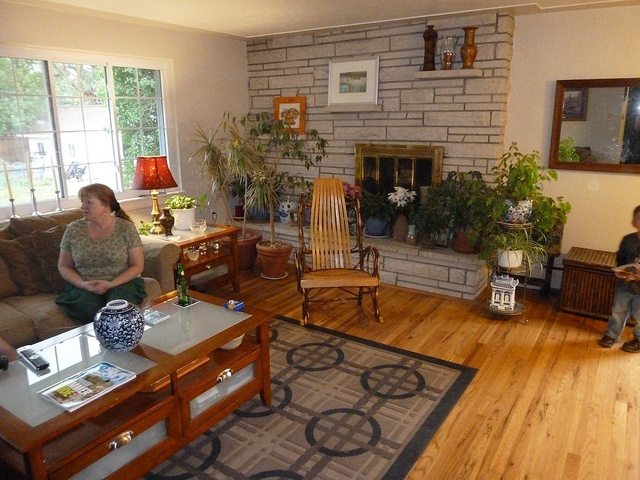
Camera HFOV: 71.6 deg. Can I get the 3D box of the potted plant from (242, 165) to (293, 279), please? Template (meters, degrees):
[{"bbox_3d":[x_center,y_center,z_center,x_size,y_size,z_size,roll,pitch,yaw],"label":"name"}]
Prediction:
[{"bbox_3d":[-0.642,-0.245,5.292,0.488,1.280,0.908,-4,15,-9],"label":"potted plant"}]

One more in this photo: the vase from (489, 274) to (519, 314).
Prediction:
[{"bbox_3d":[1.714,0.515,4.202,0.261,0.266,0.244,7,-6,-4],"label":"vase"}]

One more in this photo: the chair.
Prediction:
[{"bbox_3d":[0.150,0.103,4.123,0.847,1.265,1.031,1,14,12],"label":"chair"}]

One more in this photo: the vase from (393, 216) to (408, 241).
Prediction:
[{"bbox_3d":[0.887,-0.119,4.885,0.152,0.285,0.187,1,15,9],"label":"vase"}]

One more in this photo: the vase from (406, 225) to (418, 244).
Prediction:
[{"bbox_3d":[1.000,-0.057,4.819,0.128,0.209,0.101,-4,16,-10],"label":"vase"}]

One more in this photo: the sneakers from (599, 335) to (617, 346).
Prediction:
[{"bbox_3d":[2.388,0.830,3.686,0.077,0.059,0.126,2,2,33],"label":"sneakers"}]

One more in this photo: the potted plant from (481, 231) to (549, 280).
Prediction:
[{"bbox_3d":[1.777,0.101,4.097,0.409,0.311,0.449,-2,7,-41],"label":"potted plant"}]

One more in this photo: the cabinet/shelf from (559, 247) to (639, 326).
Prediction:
[{"bbox_3d":[2.575,0.419,4.321,0.795,0.768,0.581,8,20,29],"label":"cabinet/shelf"}]

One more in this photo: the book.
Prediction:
[{"bbox_3d":[-1.194,0.750,2.284,0.298,0.049,0.359,9,17,36],"label":"book"}]

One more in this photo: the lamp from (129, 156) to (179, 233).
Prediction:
[{"bbox_3d":[-1.647,-0.439,4.395,0.445,0.749,0.427,-2,13,-11],"label":"lamp"}]

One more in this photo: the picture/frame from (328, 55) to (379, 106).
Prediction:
[{"bbox_3d":[0.401,-1.818,5.064,0.661,0.503,0.032,6,10,29],"label":"picture/frame"}]

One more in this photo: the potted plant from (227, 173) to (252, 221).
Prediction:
[{"bbox_3d":[-1.038,-0.580,5.756,0.293,0.481,0.265,6,7,28],"label":"potted plant"}]

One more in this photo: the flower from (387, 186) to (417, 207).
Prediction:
[{"bbox_3d":[0.899,-0.466,4.890,0.306,0.226,0.238,3,15,16],"label":"flower"}]

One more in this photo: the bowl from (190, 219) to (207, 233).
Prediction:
[{"bbox_3d":[-1.233,-0.142,4.470,0.138,0.092,0.129,0,16,0],"label":"bowl"}]

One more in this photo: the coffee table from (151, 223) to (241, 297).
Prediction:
[{"bbox_3d":[-1.213,0.241,4.627,0.748,0.592,0.778,1,13,43],"label":"coffee table"}]

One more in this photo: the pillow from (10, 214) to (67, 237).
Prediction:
[{"bbox_3d":[-2.380,-0.128,3.685,0.235,0.072,0.241,41,44,23],"label":"pillow"}]

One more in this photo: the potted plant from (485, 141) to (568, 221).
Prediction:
[{"bbox_3d":[1.844,-0.448,4.091,0.445,0.509,0.565,-3,-1,-26],"label":"potted plant"}]

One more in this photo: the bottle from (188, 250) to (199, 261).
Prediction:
[{"bbox_3d":[-1.243,0.155,4.312,0.097,0.094,0.102,-1,15,1],"label":"bottle"}]

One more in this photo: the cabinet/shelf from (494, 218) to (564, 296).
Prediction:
[{"bbox_3d":[2.203,0.253,4.650,0.510,0.473,0.288,8,-20,20],"label":"cabinet/shelf"}]

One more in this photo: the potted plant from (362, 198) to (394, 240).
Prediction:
[{"bbox_3d":[0.630,-0.265,5.051,0.384,0.408,0.382,6,-2,-7],"label":"potted plant"}]

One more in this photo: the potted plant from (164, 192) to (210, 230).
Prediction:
[{"bbox_3d":[-1.383,-0.285,4.648,0.379,0.346,0.299,-1,11,-9],"label":"potted plant"}]

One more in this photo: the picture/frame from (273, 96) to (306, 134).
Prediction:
[{"bbox_3d":[-0.368,-1.550,5.528,0.577,0.562,0.063,7,13,30],"label":"picture/frame"}]

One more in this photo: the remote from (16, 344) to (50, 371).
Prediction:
[{"bbox_3d":[-1.604,0.657,2.476,0.191,0.030,0.099,24,24,26],"label":"remote"}]

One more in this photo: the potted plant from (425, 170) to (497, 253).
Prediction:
[{"bbox_3d":[1.421,-0.269,4.410,0.758,0.733,0.518,0,22,1],"label":"potted plant"}]
